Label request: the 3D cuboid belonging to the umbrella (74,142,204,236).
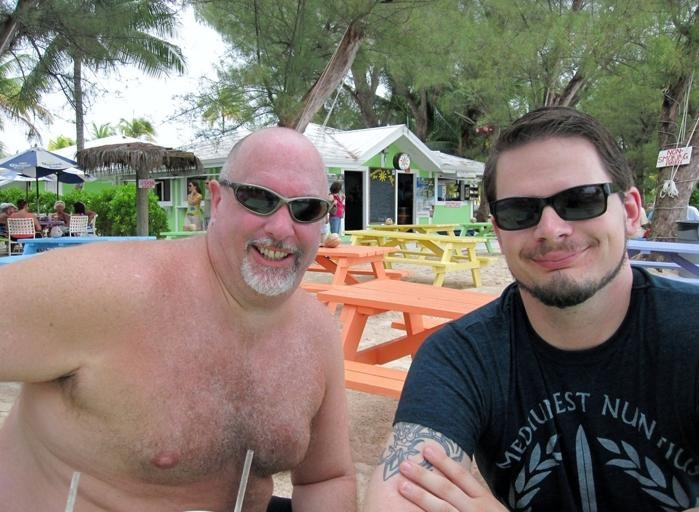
[{"bbox_3d":[-4.826,-1.761,12.564,2.562,2.747,2.497,-2,4,-43],"label":"umbrella"}]
